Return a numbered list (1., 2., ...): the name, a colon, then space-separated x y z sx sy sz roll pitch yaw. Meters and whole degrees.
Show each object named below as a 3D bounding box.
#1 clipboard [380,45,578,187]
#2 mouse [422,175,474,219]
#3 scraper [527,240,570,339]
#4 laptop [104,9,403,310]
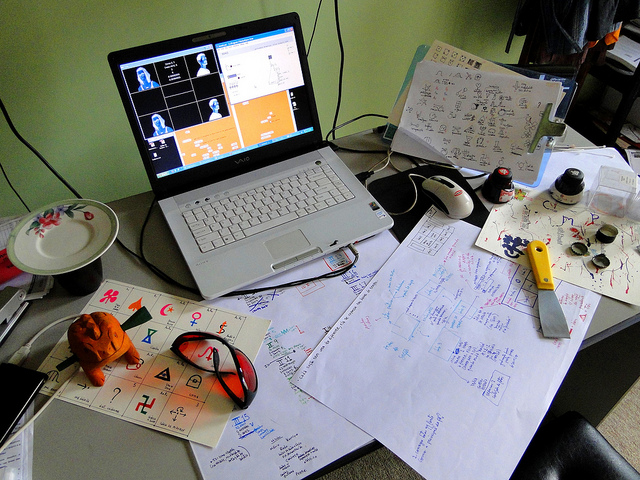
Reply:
1. clipboard: 0.485 -0.486 1.466 0.539 0.368 0.392 10 42 8
2. mouse: 0.344 -0.117 1.261 0.062 0.106 0.186 -31 20 1
3. scraper: 0.505 0.107 1.086 0.053 0.039 0.247 2 52 5
4. laptop: -0.142 -0.222 1.143 0.528 0.386 0.506 -25 50 -16
